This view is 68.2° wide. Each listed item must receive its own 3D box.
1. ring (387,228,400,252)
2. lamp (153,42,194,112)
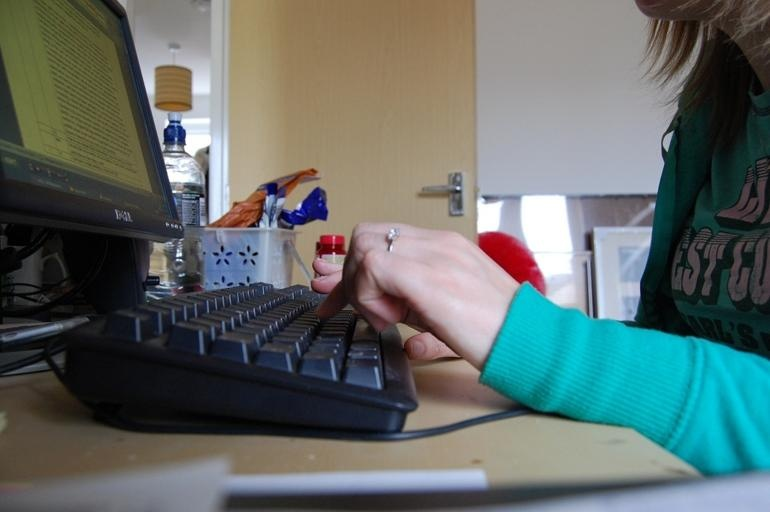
[{"bbox_3d":[0.012,-0.021,0.703,0.011,0.009,0.036,-29,23,33],"label":"ring"},{"bbox_3d":[-1.187,-1.017,3.217,0.206,0.364,0.211,0,2,8],"label":"lamp"}]
